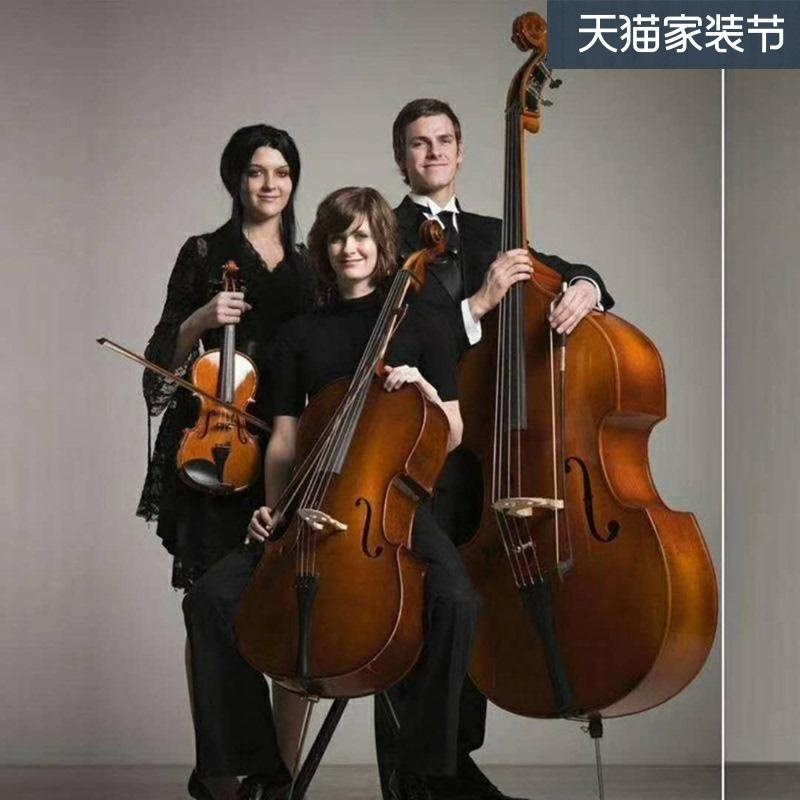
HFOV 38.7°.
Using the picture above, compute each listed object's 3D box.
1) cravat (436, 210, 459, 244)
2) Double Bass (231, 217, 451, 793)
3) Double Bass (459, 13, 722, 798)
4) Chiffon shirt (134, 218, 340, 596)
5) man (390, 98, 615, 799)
[{"bbox_3d":[0.111,-0.441,2.870,0.023,0.087,0.054,-19,-12,42],"label":"cravat"},{"bbox_3d":[-0.116,0.282,2.374,0.318,0.920,0.281,4,-22,35],"label":"Double Bass"},{"bbox_3d":[0.410,0.228,2.576,0.591,1.040,0.346,1,8,20],"label":"Double Bass"},{"bbox_3d":[-0.401,0.008,3.043,0.442,0.953,0.312,8,-1,29],"label":"Chiffon shirt"},{"bbox_3d":[0.296,0.065,2.872,0.621,1.680,0.237,-10,-11,43],"label":"man"}]
